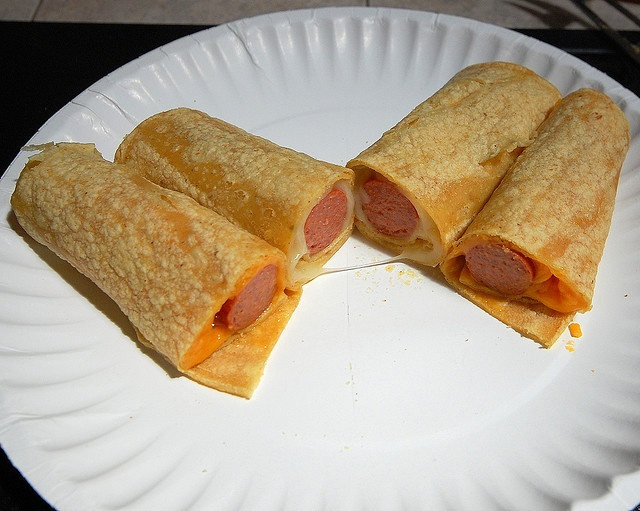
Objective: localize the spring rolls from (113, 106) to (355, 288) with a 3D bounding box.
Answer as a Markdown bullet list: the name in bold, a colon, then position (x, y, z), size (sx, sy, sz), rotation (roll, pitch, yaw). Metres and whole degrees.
- **spring rolls**: position (-0.445, -0.345, 2.996), size (1.158, 0.497, 0.701), rotation (28, 49, 20)

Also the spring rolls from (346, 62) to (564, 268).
- **spring rolls**: position (0.731, -0.622, 2.945), size (0.682, 0.492, 1.217), rotation (29, 66, 33)

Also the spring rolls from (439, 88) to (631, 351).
- **spring rolls**: position (1.246, -0.283, 2.964), size (0.432, 0.685, 1.238), rotation (40, 63, 22)
